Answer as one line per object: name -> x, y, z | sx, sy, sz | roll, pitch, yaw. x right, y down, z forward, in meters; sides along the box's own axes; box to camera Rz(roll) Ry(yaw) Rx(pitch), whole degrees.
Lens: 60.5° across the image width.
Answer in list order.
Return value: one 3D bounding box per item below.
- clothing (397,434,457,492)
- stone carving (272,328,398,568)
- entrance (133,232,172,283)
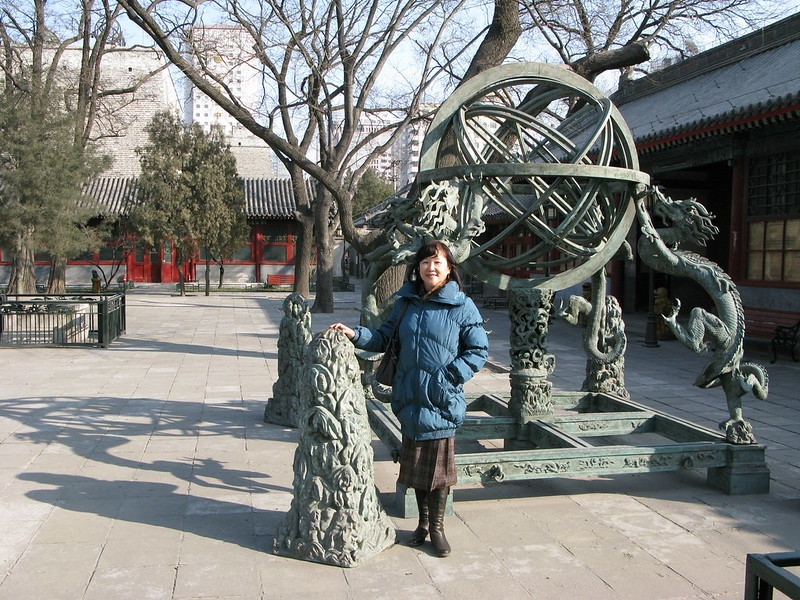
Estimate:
clothing -> 0.126, 1.072, 4.623 | 0.354, 0.318, 0.203 | 8, -10, -6
stone carving -> -0.458, 0.942, 4.453 | 0.640, 1.475, 0.344 | 4, 7, 21
entrance -> -9.712, -1.658, 26.498 | 1.769, 1.776, 0.301 | 0, 2, -19
